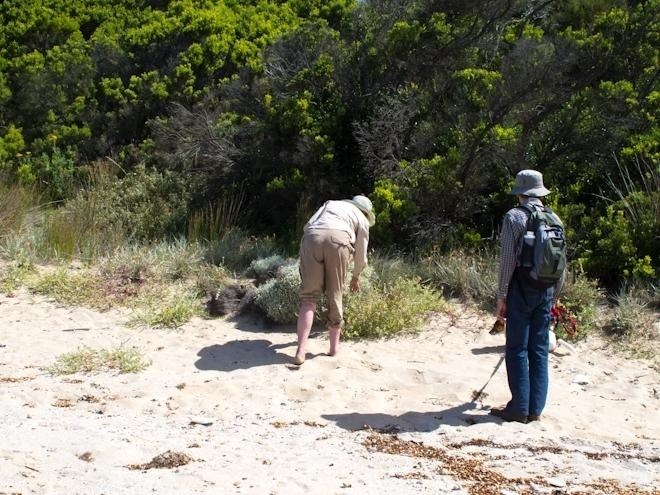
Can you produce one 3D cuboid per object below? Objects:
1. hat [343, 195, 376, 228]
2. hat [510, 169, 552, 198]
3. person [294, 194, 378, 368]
[{"bbox_3d":[0.384,-0.506,9.809,0.358,0.155,0.375,47,-6,-21],"label":"hat"},{"bbox_3d":[2.326,-0.748,8.549,0.320,0.211,0.297,-14,16,-34],"label":"hat"},{"bbox_3d":[0.024,0.401,9.466,0.900,2.214,0.493,2,-2,-5],"label":"person"}]
